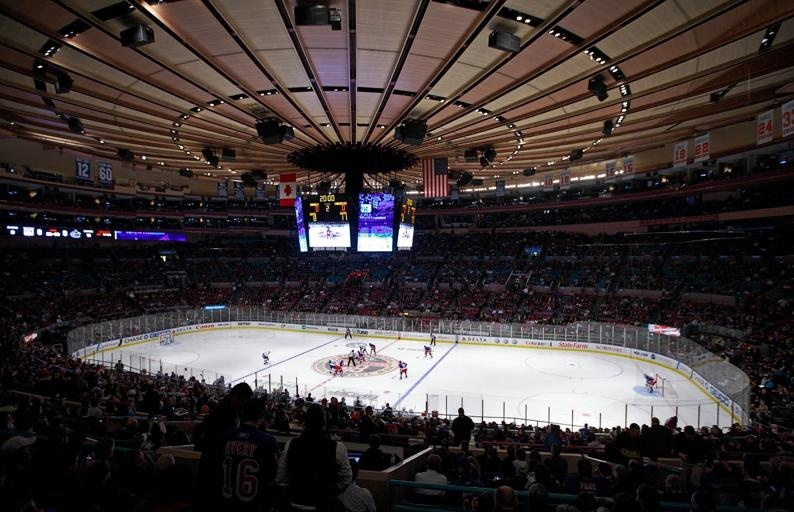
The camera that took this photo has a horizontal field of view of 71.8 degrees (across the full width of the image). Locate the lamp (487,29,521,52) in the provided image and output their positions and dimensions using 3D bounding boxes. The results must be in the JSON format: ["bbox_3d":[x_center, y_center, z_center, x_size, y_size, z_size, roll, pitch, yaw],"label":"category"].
[{"bbox_3d":[3.530,-7.048,17.940,1.050,0.714,0.351,-1,4,-13],"label":"lamp"}]

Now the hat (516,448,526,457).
[{"bbox_3d":[3.708,5.899,16.395,0.249,0.344,0.424,0,3,5],"label":"hat"}]

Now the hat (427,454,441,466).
[{"bbox_3d":[1.032,5.558,14.968,0.300,0.271,0.326,0,3,14],"label":"hat"}]

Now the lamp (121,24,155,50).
[{"bbox_3d":[-8.359,-7.178,17.770,1.071,0.799,0.419,0,4,5],"label":"lamp"}]

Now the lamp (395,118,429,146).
[{"bbox_3d":[0.628,-5.066,22.436,1.207,0.743,1.289,4,8,-9],"label":"lamp"}]

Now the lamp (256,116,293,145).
[{"bbox_3d":[-5.139,-5.328,23.179,1.318,1.170,1.088,0,3,2],"label":"lamp"}]

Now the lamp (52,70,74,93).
[{"bbox_3d":[-12.195,-6.363,20.095,0.533,0.739,0.331,-2,4,-19],"label":"lamp"}]
